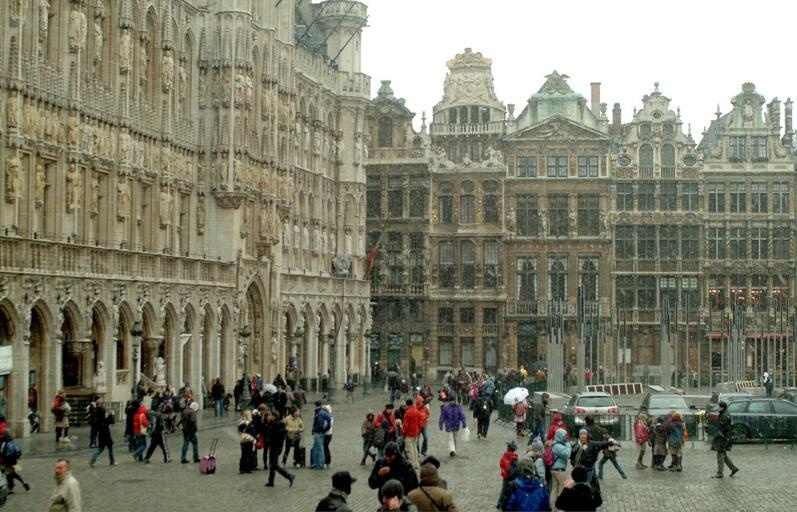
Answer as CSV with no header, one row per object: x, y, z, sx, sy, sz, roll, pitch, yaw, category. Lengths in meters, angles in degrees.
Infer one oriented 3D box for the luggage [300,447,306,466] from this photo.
-3.998,8.547,66.127,0.212,0.752,0.490,-4,-6,19,luggage

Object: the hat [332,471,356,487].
-1.851,7.584,52.717,0.493,0.370,0.737,6,7,41,hat
